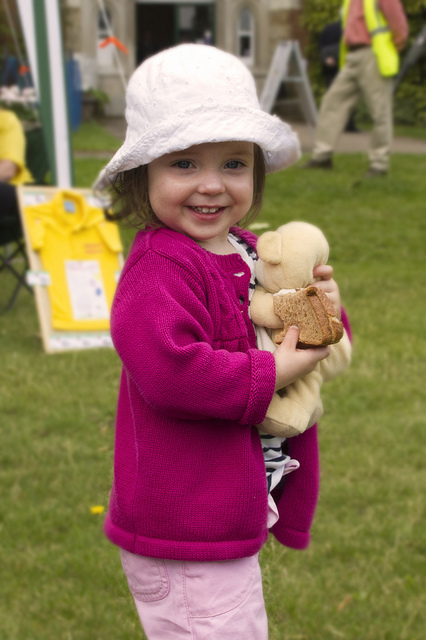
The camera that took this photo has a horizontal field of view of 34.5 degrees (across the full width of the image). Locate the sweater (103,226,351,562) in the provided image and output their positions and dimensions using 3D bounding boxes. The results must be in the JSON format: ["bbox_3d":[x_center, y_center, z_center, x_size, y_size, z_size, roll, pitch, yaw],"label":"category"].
[{"bbox_3d":[0.045,0.152,1.379,0.434,0.580,0.540,-6,-4,31],"label":"sweater"}]

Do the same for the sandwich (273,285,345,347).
[{"bbox_3d":[0.171,-0.014,1.258,0.124,0.110,0.042,-19,1,12],"label":"sandwich"}]

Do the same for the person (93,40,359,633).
[{"bbox_3d":[0.011,0.062,1.395,0.559,1.120,0.418,5,14,19],"label":"person"}]
